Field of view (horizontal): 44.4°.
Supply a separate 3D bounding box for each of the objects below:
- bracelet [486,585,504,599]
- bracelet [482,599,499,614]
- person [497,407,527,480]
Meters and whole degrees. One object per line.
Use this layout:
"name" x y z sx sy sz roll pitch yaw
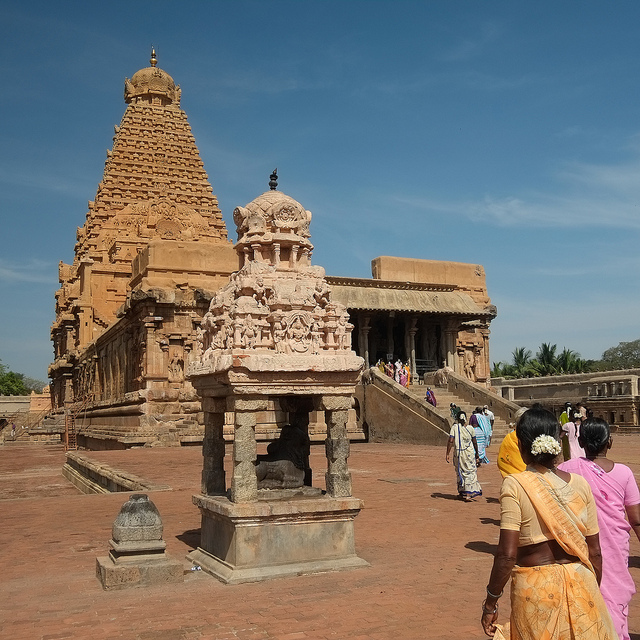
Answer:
"bracelet" 0.943 1.470 4.253 0.085 0.045 0.111 3 -27 -3
"bracelet" 0.923 1.539 4.238 0.055 0.079 0.079 1 -16 0
"person" 2.084 1.266 8.182 0.327 0.277 0.917 -2 -51 4
